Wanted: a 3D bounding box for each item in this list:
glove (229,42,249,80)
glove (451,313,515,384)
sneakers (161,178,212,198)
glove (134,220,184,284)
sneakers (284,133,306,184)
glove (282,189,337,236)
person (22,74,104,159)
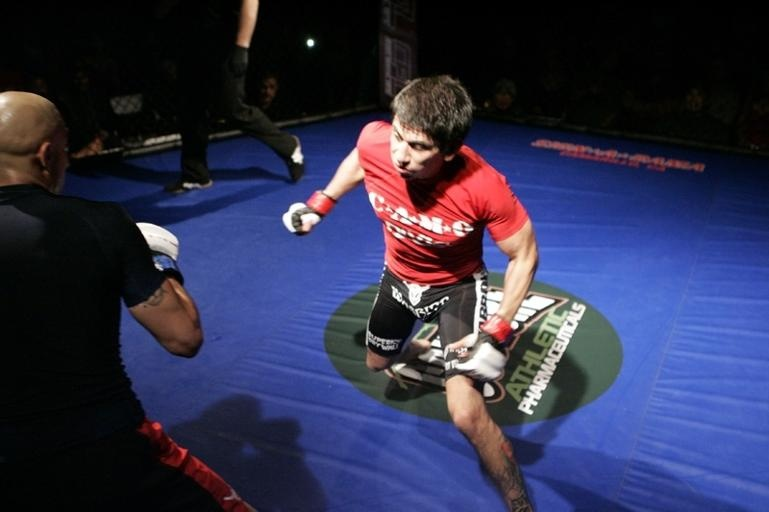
[{"bbox_3d":[-1.531,-2.019,5.540,0.109,0.312,0.230,17,24,36],"label":"glove"},{"bbox_3d":[0.499,0.482,2.850,0.336,0.156,0.330,9,4,-30],"label":"glove"},{"bbox_3d":[-2.153,-0.751,5.787,0.493,0.210,0.179,-7,31,-21],"label":"sneakers"},{"bbox_3d":[-1.108,-0.046,2.535,0.146,0.204,0.471,-6,25,-40],"label":"glove"},{"bbox_3d":[-1.060,-1.132,6.171,0.192,0.579,0.237,5,20,29],"label":"sneakers"},{"bbox_3d":[-0.445,-0.246,3.310,0.226,0.129,0.317,26,67,35],"label":"glove"},{"bbox_3d":[-3.507,-1.616,6.038,0.790,0.816,0.597,25,36,22],"label":"person"}]
